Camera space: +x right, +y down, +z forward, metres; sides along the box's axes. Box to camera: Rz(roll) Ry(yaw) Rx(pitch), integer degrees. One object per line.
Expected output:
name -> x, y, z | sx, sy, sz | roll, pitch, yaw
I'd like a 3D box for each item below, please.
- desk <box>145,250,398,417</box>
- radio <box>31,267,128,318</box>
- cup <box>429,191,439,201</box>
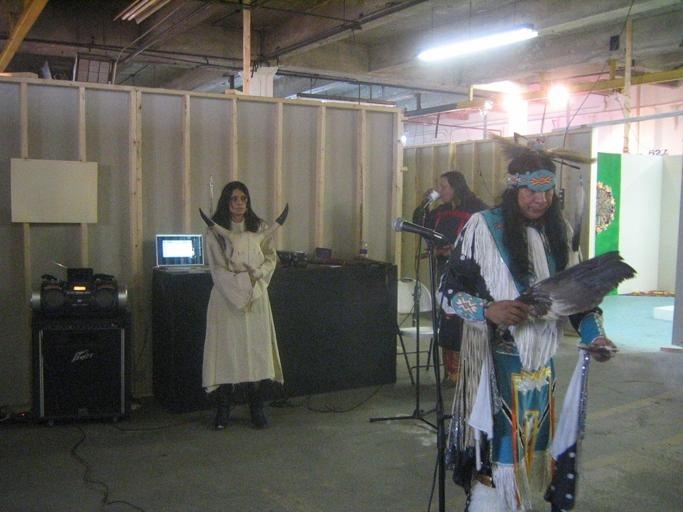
desk -> -0.556, 0.703, 6.218 | 2.122, 1.219, 0.715 | -1, -2, -23
radio -> -2.238, 0.371, 5.323 | 0.746, 0.317, 0.129 | -2, 10, -14
cup -> 0.938, -0.612, 6.316 | 0.104, 0.101, 0.084 | -5, -5, 37
